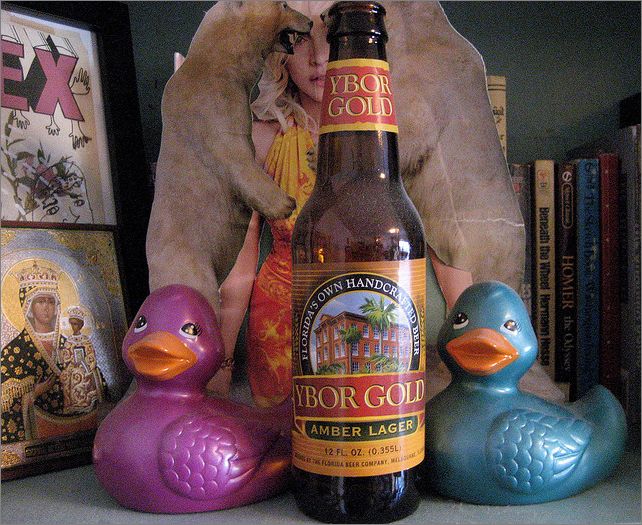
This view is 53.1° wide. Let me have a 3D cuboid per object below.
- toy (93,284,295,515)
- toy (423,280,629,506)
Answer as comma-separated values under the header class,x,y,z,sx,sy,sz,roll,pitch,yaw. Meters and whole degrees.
class,x,y,z,sx,sy,sz,roll,pitch,yaw
toy,-0.141,0.179,0.821,0.294,0.260,0.202,9,-13,-32
toy,0.215,0.184,0.914,0.302,0.278,0.210,5,-9,-13
